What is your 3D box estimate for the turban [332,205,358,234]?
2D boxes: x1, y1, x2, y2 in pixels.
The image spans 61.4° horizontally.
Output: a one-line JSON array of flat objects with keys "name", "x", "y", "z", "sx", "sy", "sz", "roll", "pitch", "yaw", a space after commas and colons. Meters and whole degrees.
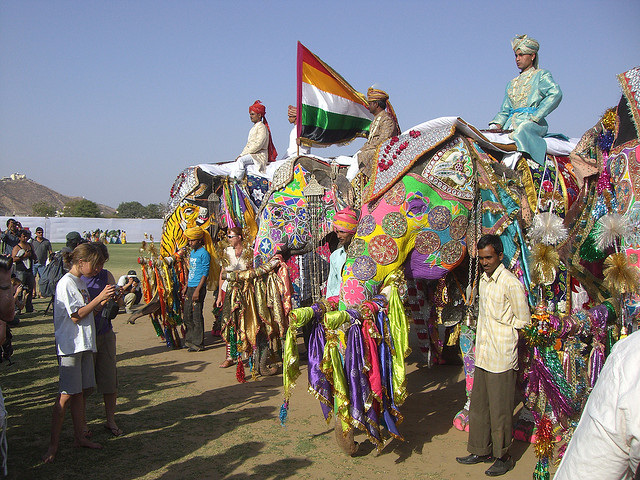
[{"name": "turban", "x": 0.269, "y": -0.211, "z": 5.627, "sx": 0.192, "sy": 0.227, "sz": 0.270, "roll": 2, "pitch": -2, "yaw": 9}]

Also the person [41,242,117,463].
[{"name": "person", "x": -2.326, "y": 1.032, "z": 5.186, "sx": 0.674, "sy": 2.011, "sz": 0.480, "roll": -2, "pitch": 3, "yaw": -36}]

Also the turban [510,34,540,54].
[{"name": "turban", "x": 2.531, "y": -2.429, "z": 6.639, "sx": 0.280, "sy": 0.221, "sz": 0.317, "roll": 1, "pitch": 4, "yaw": 16}]

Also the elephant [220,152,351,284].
[{"name": "elephant", "x": -0.339, "y": -0.396, "z": 7.698, "sx": 1.561, "sy": 1.783, "sz": 1.019, "roll": 0, "pitch": 3, "yaw": 2}]

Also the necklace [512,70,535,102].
[{"name": "necklace", "x": 2.559, "y": -1.936, "z": 6.829, "sx": 0.041, "sy": 0.316, "sz": 0.250, "roll": 7, "pitch": 19, "yaw": -19}]

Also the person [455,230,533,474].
[{"name": "person", "x": 1.600, "y": 1.004, "z": 4.930, "sx": 0.580, "sy": 2.102, "sz": 0.594, "roll": 1, "pitch": 3, "yaw": 20}]

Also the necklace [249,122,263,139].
[{"name": "necklace", "x": -1.261, "y": -2.105, "z": 10.262, "sx": 0.216, "sy": 0.331, "sz": 0.459, "roll": 0, "pitch": 3, "yaw": 9}]

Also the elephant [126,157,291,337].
[{"name": "elephant", "x": -1.949, "y": 0.169, "z": 11.034, "sx": 3.894, "sy": 3.197, "sz": 1.223, "roll": -6, "pitch": 2, "yaw": -37}]

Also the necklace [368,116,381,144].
[{"name": "necklace", "x": 0.648, "y": -1.316, "z": 6.233, "sx": 0.048, "sy": 0.446, "sz": 0.065, "roll": 33, "pitch": -14, "yaw": -37}]

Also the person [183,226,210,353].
[{"name": "person", "x": -2.038, "y": 0.808, "z": 8.994, "sx": 0.416, "sy": 2.035, "sz": 0.447, "roll": -1, "pitch": 3, "yaw": -24}]

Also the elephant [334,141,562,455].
[{"name": "elephant", "x": 0.629, "y": 0.432, "z": 5.916, "sx": 2.018, "sy": 3.215, "sz": 1.918, "roll": -4, "pitch": 8, "yaw": -39}]
